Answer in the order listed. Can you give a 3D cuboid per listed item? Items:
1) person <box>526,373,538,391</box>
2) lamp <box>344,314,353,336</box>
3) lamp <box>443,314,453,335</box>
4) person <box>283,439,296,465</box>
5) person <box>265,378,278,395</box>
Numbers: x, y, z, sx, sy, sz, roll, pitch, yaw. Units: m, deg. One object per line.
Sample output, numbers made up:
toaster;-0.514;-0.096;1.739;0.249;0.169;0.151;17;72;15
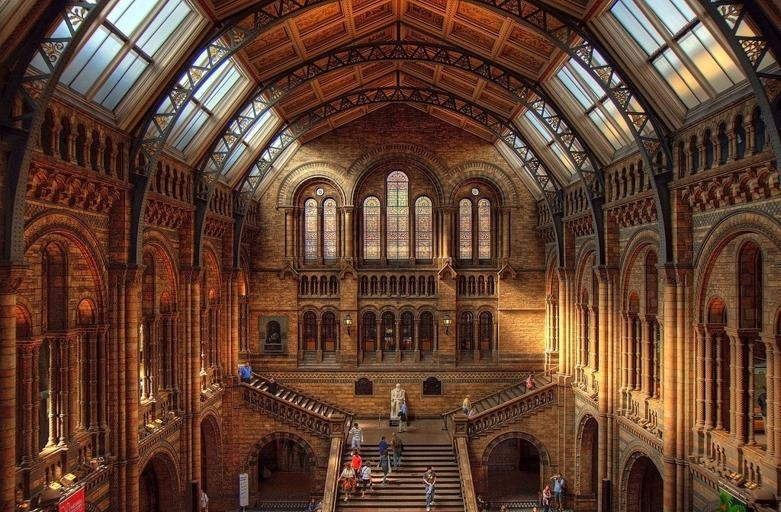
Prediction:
person;8.753;7.860;35.018;0.619;0.913;1.571;-3;-16;13
lamp;-2.687;4.469;36.626;0.488;1.351;0.344;9;-17;-29
lamp;3.708;4.452;36.644;0.476;1.281;0.488;9;-18;-30
person;-6.435;12.434;35.417;1.119;1.793;0.560;3;-15;-9
person;-7.242;8.070;35.045;0.636;1.072;2.447;3;-16;-11
